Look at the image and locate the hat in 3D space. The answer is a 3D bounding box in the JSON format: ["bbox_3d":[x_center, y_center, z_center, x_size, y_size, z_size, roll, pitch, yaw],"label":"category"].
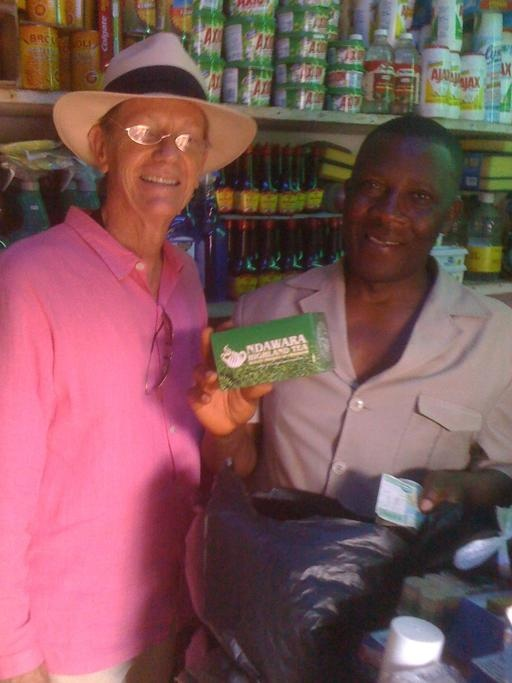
[{"bbox_3d":[-0.197,-0.531,1.308,0.387,0.176,0.379,-5,-6,3],"label":"hat"}]
